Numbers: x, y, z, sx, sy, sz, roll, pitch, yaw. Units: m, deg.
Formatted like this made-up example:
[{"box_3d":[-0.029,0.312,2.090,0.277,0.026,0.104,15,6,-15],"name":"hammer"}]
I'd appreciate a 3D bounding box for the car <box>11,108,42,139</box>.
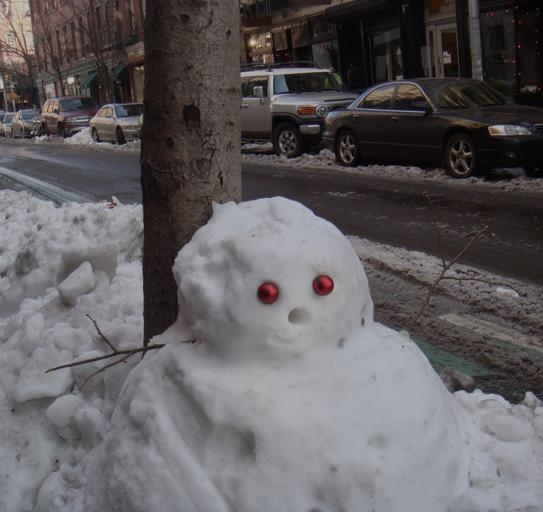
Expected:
[{"box_3d":[-22.432,-11.878,36.595,1.901,2.469,6.624,-14,25,-33],"name":"car"}]
